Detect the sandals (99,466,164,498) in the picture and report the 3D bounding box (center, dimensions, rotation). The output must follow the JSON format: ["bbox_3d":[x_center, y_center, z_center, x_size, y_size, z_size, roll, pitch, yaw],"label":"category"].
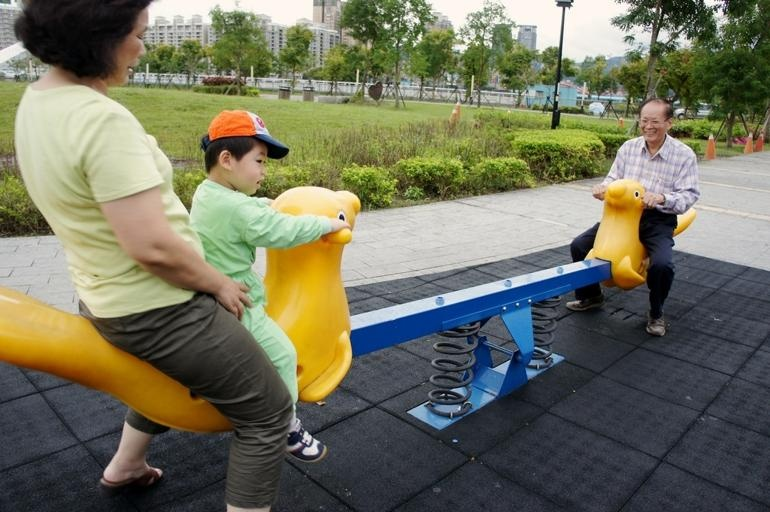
[{"bbox_3d":[-1.264,1.099,2.717,0.261,0.105,0.131,-4,9,-37],"label":"sandals"}]

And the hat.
[{"bbox_3d":[-0.610,-0.514,2.397,0.333,0.156,0.208,-2,11,-22],"label":"hat"}]

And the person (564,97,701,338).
[{"bbox_3d":[2.089,-0.374,4.562,0.820,1.779,0.823,11,23,32],"label":"person"}]

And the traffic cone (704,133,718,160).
[{"bbox_3d":[9.578,-3.196,16.105,0.254,0.724,0.644,9,21,28],"label":"traffic cone"}]

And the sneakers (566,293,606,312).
[{"bbox_3d":[1.761,0.401,4.888,0.359,0.157,0.129,-2,7,-13],"label":"sneakers"}]

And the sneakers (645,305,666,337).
[{"bbox_3d":[2.177,0.546,4.421,0.111,0.113,0.276,1,8,18],"label":"sneakers"}]
